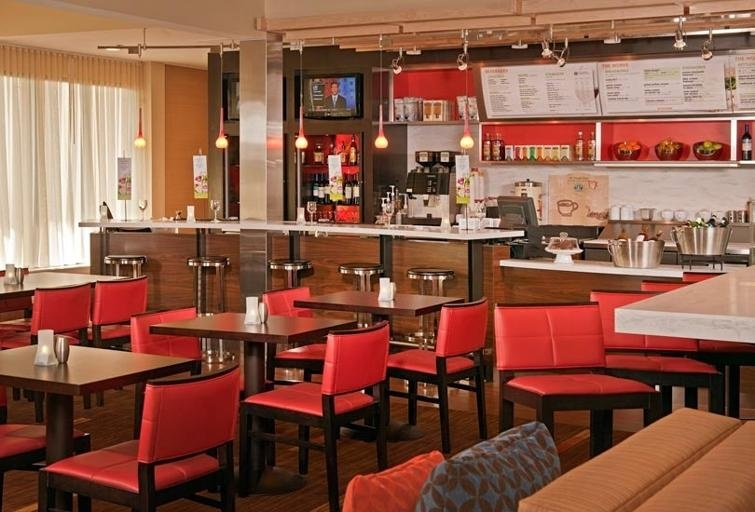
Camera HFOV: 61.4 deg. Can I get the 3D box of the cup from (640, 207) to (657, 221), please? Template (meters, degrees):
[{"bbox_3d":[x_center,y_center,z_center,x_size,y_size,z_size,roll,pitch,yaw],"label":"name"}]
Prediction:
[{"bbox_3d":[3.672,-0.567,8.648,0.212,0.129,0.189,2,4,2],"label":"cup"}]

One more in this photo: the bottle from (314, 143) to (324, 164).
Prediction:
[{"bbox_3d":[-0.940,-1.633,10.100,0.166,0.338,0.158,-2,5,0],"label":"bottle"}]

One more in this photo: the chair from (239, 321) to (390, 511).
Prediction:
[{"bbox_3d":[-0.393,1.007,4.133,0.767,1.138,0.635,1,6,33],"label":"chair"}]

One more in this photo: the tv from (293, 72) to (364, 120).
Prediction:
[{"bbox_3d":[-0.780,-2.448,9.736,1.318,0.698,0.155,-15,23,-42],"label":"tv"}]

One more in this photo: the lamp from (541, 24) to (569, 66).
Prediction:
[{"bbox_3d":[1.877,-2.224,6.734,0.282,0.411,0.151,-1,19,6],"label":"lamp"}]

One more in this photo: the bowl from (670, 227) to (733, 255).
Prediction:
[{"bbox_3d":[2.626,-0.120,5.171,0.415,0.250,0.213,0,5,21],"label":"bowl"}]

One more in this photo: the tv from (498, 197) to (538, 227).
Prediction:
[{"bbox_3d":[1.614,-0.506,7.384,0.420,0.347,0.236,5,12,44],"label":"tv"}]

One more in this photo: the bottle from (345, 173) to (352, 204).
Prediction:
[{"bbox_3d":[-0.458,-1.028,9.819,0.124,0.435,0.114,-2,5,0],"label":"bottle"}]

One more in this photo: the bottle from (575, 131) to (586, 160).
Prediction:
[{"bbox_3d":[2.893,-1.596,9.112,0.143,0.430,0.234,-1,5,16],"label":"bottle"}]

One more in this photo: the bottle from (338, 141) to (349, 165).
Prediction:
[{"bbox_3d":[-0.527,-1.612,9.907,0.207,0.374,0.330,-2,5,-6],"label":"bottle"}]

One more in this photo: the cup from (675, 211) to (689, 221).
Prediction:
[{"bbox_3d":[4.073,-0.540,8.513,0.171,0.146,0.212,0,5,23],"label":"cup"}]

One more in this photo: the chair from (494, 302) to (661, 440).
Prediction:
[{"bbox_3d":[1.112,0.732,3.587,0.874,0.783,0.818,-4,5,-35],"label":"chair"}]

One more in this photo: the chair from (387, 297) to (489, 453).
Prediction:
[{"bbox_3d":[0.400,0.905,5.023,0.894,1.001,0.802,-2,-5,20],"label":"chair"}]

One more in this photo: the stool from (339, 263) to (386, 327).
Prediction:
[{"bbox_3d":[-0.163,0.360,7.329,0.660,0.579,0.582,0,0,5],"label":"stool"}]

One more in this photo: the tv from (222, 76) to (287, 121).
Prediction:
[{"bbox_3d":[-2.059,-2.689,10.915,0.138,0.828,1.343,27,31,35],"label":"tv"}]

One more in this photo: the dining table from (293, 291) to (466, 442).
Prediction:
[{"bbox_3d":[0.102,0.829,5.533,1.203,0.878,1.178,-7,-2,20],"label":"dining table"}]

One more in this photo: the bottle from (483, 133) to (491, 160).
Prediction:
[{"bbox_3d":[1.627,-1.631,9.538,0.122,0.409,0.160,-1,5,15],"label":"bottle"}]

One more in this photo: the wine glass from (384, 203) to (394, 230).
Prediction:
[{"bbox_3d":[0.129,-0.514,7.807,0.141,0.263,0.315,-2,5,-5],"label":"wine glass"}]

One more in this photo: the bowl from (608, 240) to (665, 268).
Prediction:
[{"bbox_3d":[2.221,-0.010,5.581,0.312,0.136,0.335,1,-1,0],"label":"bowl"}]

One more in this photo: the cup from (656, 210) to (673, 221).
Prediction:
[{"bbox_3d":[3.885,-0.537,8.584,0.187,0.113,0.132,0,1,17],"label":"cup"}]

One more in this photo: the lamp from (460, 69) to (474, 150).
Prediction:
[{"bbox_3d":[1.226,-1.982,8.736,0.253,1.042,0.210,-6,16,-7],"label":"lamp"}]

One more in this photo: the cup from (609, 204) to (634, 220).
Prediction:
[{"bbox_3d":[3.401,-0.604,8.870,0.309,0.217,0.201,0,5,19],"label":"cup"}]

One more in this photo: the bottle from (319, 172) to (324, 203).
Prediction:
[{"bbox_3d":[-0.899,-1.074,10.087,0.092,0.459,0.122,-3,5,-4],"label":"bottle"}]

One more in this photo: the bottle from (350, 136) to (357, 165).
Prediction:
[{"bbox_3d":[-0.395,-1.628,9.813,0.111,0.413,0.204,-3,5,-10],"label":"bottle"}]

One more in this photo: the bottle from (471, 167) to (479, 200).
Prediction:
[{"bbox_3d":[1.453,-1.066,9.460,0.117,0.459,0.380,-1,5,12],"label":"bottle"}]

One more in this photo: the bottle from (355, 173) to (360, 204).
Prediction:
[{"bbox_3d":[-0.321,-1.015,9.741,0.073,0.422,0.149,-3,5,-13],"label":"bottle"}]

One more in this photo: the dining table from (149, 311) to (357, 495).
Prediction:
[{"bbox_3d":[-0.754,0.996,4.701,1.351,1.055,1.237,1,4,13],"label":"dining table"}]
